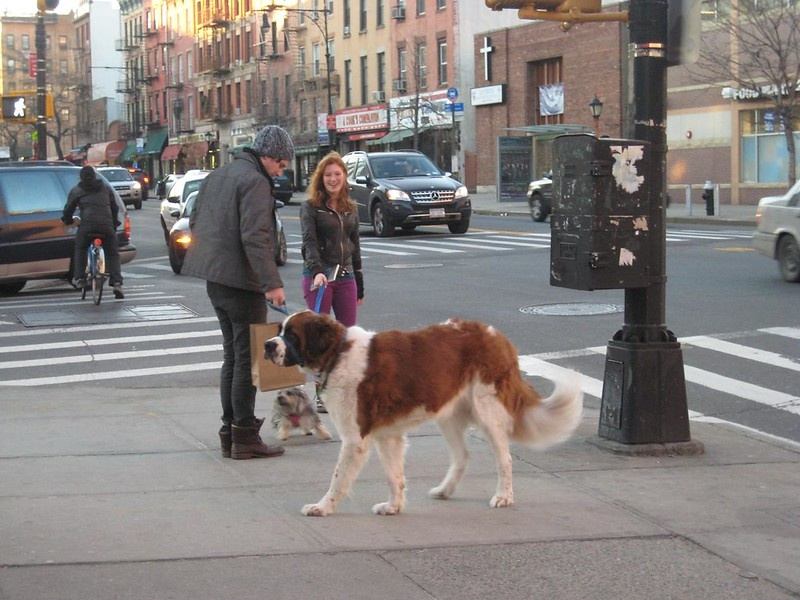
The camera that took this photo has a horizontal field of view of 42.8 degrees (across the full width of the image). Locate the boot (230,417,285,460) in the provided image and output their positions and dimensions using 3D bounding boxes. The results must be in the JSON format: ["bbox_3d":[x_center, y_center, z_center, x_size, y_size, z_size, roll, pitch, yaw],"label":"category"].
[{"bbox_3d":[-1.188,1.112,8.213,0.514,0.329,0.185,-3,5,-20],"label":"boot"}]

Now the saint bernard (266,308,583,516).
[{"bbox_3d":[0.173,0.777,7.067,2.156,1.312,0.665,0,-8,-10],"label":"saint bernard"}]

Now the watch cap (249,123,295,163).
[{"bbox_3d":[-1.037,-1.271,8.341,0.334,0.267,0.325,11,9,-7],"label":"watch cap"}]

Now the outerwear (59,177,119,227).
[{"bbox_3d":[-5.039,-1.697,17.392,0.986,0.795,0.525,2,12,29],"label":"outerwear"}]

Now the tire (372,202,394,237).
[{"bbox_3d":[-0.431,-2.159,27.036,0.357,0.946,0.979,-2,2,-22],"label":"tire"}]

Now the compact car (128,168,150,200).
[{"bbox_3d":[-15.813,-7.183,62.536,1.980,1.800,3.435,-1,2,-14],"label":"compact car"}]

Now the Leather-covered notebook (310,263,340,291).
[{"bbox_3d":[-0.688,-0.227,9.282,0.380,0.040,0.281,-36,6,6],"label":"Leather-covered notebook"}]

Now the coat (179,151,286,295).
[{"bbox_3d":[-1.288,-0.668,8.284,0.602,1.040,1.232,6,6,-38],"label":"coat"}]

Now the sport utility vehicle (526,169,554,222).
[{"bbox_3d":[4.485,-3.261,32.792,0.704,1.496,3.890,0,9,7],"label":"sport utility vehicle"}]
